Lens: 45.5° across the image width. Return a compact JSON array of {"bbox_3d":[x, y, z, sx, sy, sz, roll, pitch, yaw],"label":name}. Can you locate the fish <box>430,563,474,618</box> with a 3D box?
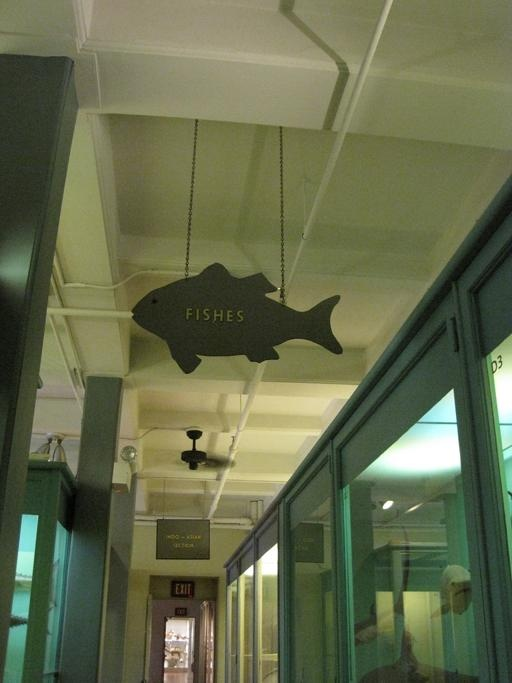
[{"bbox_3d":[0.444,0.558,1.374,0.052,0.123,0.064,46,-62,-5],"label":"fish"}]
